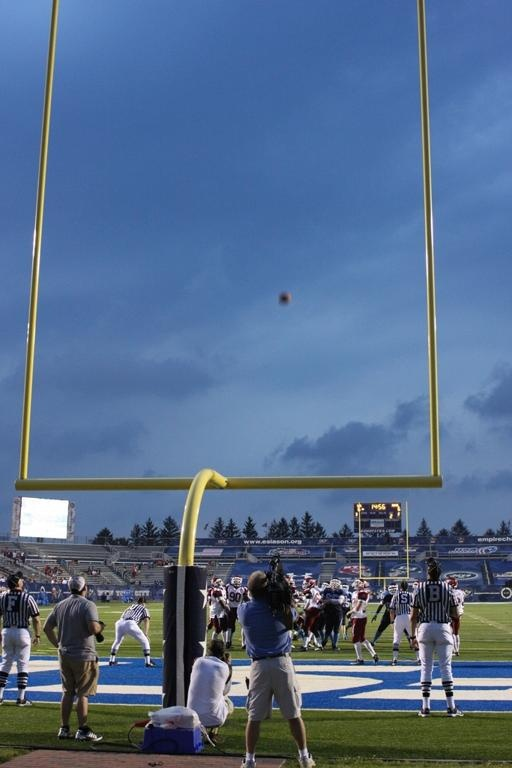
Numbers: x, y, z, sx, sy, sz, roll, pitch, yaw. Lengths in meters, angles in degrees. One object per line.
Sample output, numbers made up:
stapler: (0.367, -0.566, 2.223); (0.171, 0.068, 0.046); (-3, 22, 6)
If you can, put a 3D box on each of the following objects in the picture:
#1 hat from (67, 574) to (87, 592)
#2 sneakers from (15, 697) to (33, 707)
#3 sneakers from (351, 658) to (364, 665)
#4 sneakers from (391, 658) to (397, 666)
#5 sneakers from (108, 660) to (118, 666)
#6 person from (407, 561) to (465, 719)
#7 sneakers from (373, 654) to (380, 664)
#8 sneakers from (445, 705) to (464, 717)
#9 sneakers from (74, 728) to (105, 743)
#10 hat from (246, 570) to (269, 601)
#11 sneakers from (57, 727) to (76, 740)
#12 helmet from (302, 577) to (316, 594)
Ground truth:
hat: (-1.145, 1.282, 5.565); (0.123, 0.161, 0.156); (1, -1, -6)
sneakers: (-1.817, 2.505, 6.833); (0.067, 0.078, 0.165); (-2, -13, 18)
sneakers: (1.208, 3.379, 10.530); (0.208, 0.093, 0.072); (2, -19, 8)
sneakers: (1.680, 3.383, 10.521); (0.037, 0.080, 0.116); (-4, -32, 6)
sneakers: (-1.742, 3.384, 10.550); (0.064, 0.081, 0.178); (3, -9, 11)
person: (1.311, 1.832, 6.302); (0.376, 1.099, 0.532); (1, -13, 13)
sneakers: (1.473, 3.383, 10.605); (0.076, 0.130, 0.061); (-7, 5, -23)
sneakers: (1.401, 2.317, 6.141); (0.053, 0.066, 0.141); (-5, -11, 29)
sneakers: (-1.010, 2.121, 5.234); (0.187, 0.089, 0.077); (5, -18, -10)
hat: (0.003, 1.030, 4.479); (0.107, 0.085, 0.157); (-4, 14, 2)
sneakers: (-1.174, 2.161, 5.367); (0.054, 0.071, 0.153); (1, -22, 4)
helmet: (0.902, 3.302, 14.204); (0.263, 0.274, 0.241); (6, -22, -1)
